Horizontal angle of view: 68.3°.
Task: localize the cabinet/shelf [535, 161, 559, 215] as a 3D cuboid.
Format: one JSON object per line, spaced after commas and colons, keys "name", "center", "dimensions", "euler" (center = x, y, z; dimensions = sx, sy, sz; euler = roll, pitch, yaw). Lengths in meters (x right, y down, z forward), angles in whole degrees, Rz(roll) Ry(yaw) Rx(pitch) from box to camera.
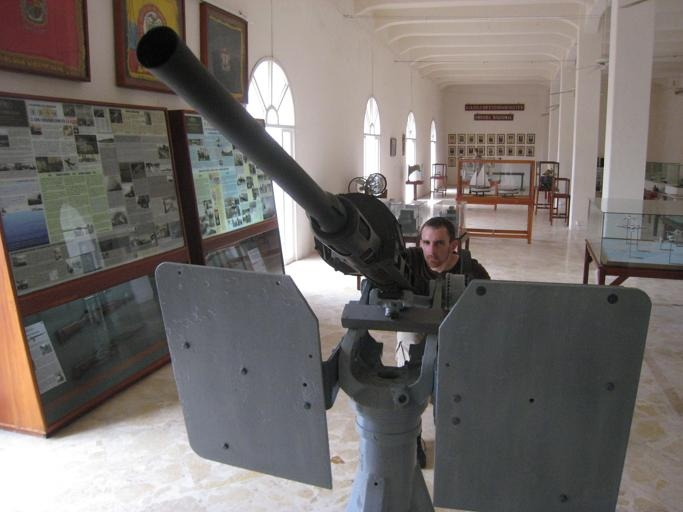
{"name": "cabinet/shelf", "center": [6.351, -2.256, 15.624], "dimensions": [0.499, 1.559, 0.770], "euler": [4, 23, 19]}
